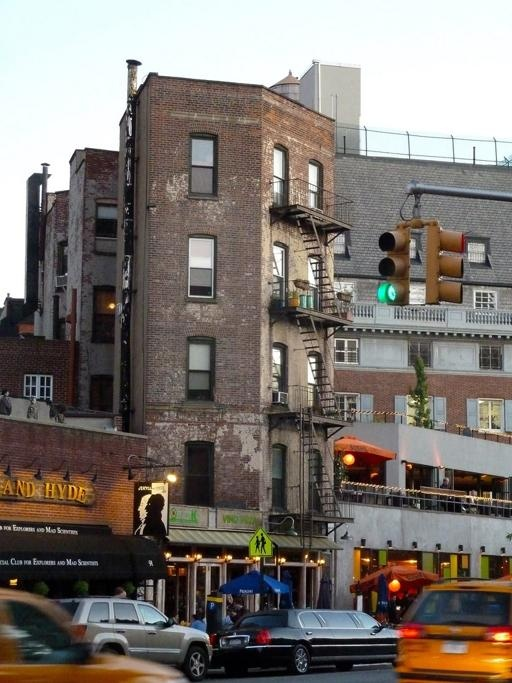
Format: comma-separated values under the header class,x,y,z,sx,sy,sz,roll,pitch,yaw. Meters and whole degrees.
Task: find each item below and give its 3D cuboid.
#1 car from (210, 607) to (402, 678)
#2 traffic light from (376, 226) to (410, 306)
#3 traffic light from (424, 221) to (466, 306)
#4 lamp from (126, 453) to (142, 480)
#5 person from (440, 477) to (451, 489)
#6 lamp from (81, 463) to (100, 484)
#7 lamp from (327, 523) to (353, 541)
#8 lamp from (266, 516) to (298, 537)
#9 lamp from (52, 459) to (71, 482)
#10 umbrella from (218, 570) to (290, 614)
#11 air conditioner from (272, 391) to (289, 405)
class,x,y,z,sx,sy,sz,roll,pitch,yaw
car,1.149,6.617,34.031,4.484,1.389,1.848,11,-15,-40
traffic light,1.908,-1.077,21.587,0.430,1.156,0.525,1,-11,3
traffic light,2.598,-1.063,21.286,0.492,1.206,0.281,2,9,21
lamp,-3.070,3.203,39.197,0.292,0.688,0.636,-3,-12,20
person,7.095,5.368,58.289,0.340,0.517,0.981,-1,-11,10
lamp,-4.011,3.241,37.624,0.110,0.456,0.621,-4,-12,25
lamp,2.662,5.943,47.995,0.892,0.681,0.502,-6,-10,35
lamp,0.742,5.276,44.210,0.286,0.606,1.289,-6,-13,33
lamp,-4.585,3.063,36.677,0.117,0.512,0.653,-3,-12,22
umbrella,0.065,6.277,39.957,1.717,0.907,1.777,-1,-2,23
air conditioner,0.693,1.686,44.828,0.322,0.482,0.622,-3,-5,21
